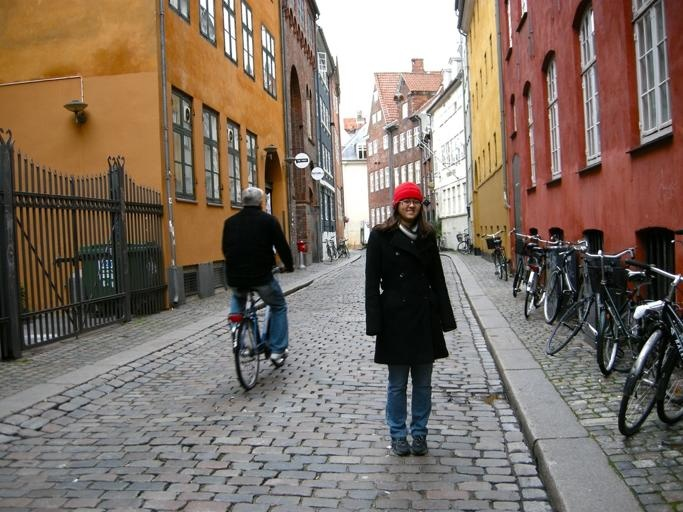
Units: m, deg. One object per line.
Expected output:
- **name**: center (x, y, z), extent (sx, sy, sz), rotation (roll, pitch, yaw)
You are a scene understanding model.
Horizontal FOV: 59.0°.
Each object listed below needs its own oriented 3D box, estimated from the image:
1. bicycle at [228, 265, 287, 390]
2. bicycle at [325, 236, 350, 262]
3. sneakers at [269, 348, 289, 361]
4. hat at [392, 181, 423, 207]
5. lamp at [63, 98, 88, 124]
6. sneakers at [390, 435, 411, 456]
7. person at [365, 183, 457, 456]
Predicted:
- **bicycle**: center (-1.040, 0.996, 7.383), extent (0.602, 0.987, 1.537), rotation (-6, 9, 11)
- **bicycle**: center (-0.303, -0.229, 36.889), extent (0.705, 1.013, 1.955), rotation (-7, 12, 18)
- **sneakers**: center (-0.797, 1.283, 7.736), extent (0.077, 0.124, 0.252), rotation (4, 10, 18)
- **hat**: center (0.557, -0.501, 5.017), extent (0.223, 0.204, 0.179), rotation (4, 0, -23)
- **lamp**: center (-5.768, -3.148, 13.228), extent (0.488, 0.597, 0.513), rotation (0, -4, 8)
- **sneakers**: center (0.487, 1.569, 4.979), extent (0.077, 0.106, 0.213), rotation (1, 2, 3)
- **person**: center (0.570, 0.509, 5.033), extent (0.735, 2.234, 0.405), rotation (-1, 3, 0)
